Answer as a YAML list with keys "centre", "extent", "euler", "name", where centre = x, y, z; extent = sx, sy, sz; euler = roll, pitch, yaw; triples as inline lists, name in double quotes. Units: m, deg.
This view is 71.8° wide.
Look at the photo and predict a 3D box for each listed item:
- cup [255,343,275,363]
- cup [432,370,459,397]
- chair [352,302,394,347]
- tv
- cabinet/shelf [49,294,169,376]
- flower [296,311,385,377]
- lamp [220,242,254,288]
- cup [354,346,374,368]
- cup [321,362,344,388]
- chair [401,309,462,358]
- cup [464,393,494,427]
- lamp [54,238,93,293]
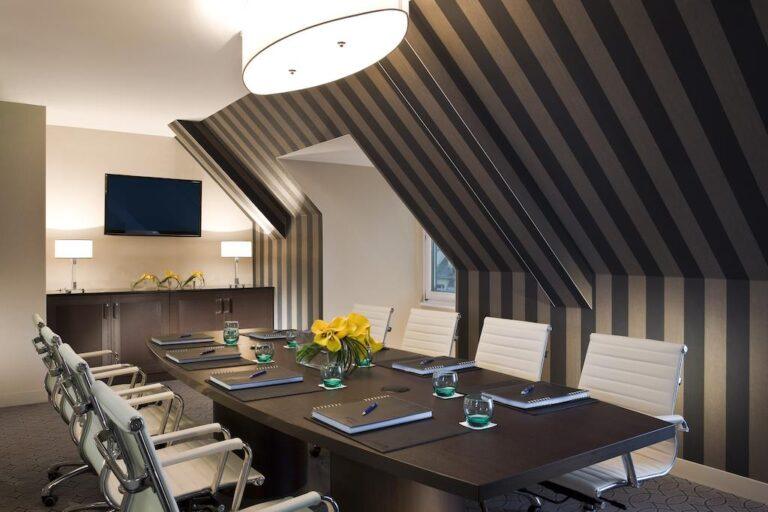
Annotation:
- centre: [-0.832, 0.660, 3.686]
  extent: [0.122, 0.120, 0.130]
  euler: [-1, 1, 0]
  name: "cup"
- centre: [0.359, 0.719, 3.078]
  extent: [0.130, 0.121, 0.134]
  euler: [0, 0, 0]
  name: "cup"
- centre: [-0.042, 0.616, 4.937]
  extent: [0.377, 0.469, 0.355]
  euler: [-3, -5, 21]
  name: "chair"
- centre: [-3.220, -0.719, 7.455]
  extent: [1.252, 0.848, 0.253]
  euler: [-3, 8, -23]
  name: "tv"
- centre: [-3.046, 0.820, 5.776]
  extent: [0.962, 0.909, 0.371]
  euler: [0, -4, -36]
  name: "cabinet/shelf"
- centre: [-0.354, 0.586, 3.676]
  extent: [0.400, 0.297, 0.445]
  euler: [2, -5, -37]
  name: "flower"
- centre: [-2.196, 0.100, 7.898]
  extent: [0.466, 0.694, 0.624]
  euler: [-2, 8, -16]
  name: "lamp"
- centre: [-0.162, 0.708, 3.676]
  extent: [0.125, 0.186, 0.124]
  euler: [1, 6, 0]
  name: "cup"
- centre: [-0.311, 0.715, 3.235]
  extent: [0.126, 0.115, 0.128]
  euler: [-1, 2, 0]
  name: "cup"
- centre: [0.441, 0.613, 4.591]
  extent: [0.408, 0.495, 0.400]
  euler: [0, -4, 34]
  name: "chair"
- centre: [0.471, 0.760, 2.701]
  extent: [0.146, 0.136, 0.151]
  euler: [-1, 3, 0]
  name: "cup"
- centre: [-3.912, 0.106, 6.725]
  extent: [0.367, 0.673, 0.598]
  euler: [-3, 8, -27]
  name: "lamp"
